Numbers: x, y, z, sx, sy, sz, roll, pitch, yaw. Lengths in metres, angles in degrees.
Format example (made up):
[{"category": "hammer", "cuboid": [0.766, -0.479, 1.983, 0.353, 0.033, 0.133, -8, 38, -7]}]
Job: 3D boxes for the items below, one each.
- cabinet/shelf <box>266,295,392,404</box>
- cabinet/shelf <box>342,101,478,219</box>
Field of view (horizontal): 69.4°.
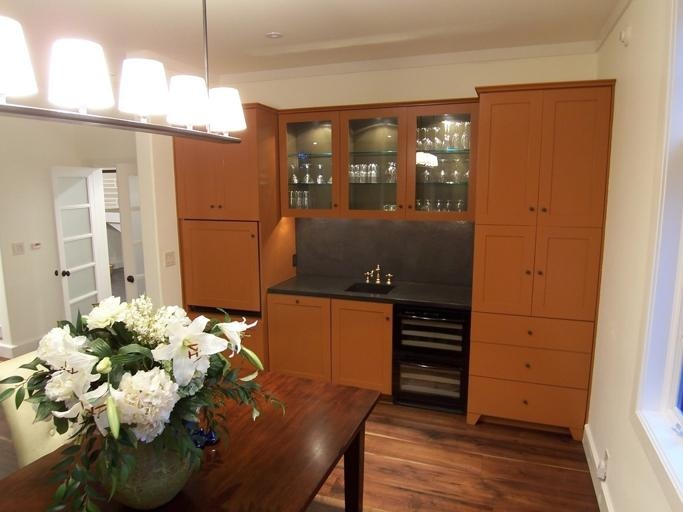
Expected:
[{"category": "cabinet/shelf", "cuboid": [-0.032, 0.736, 4.454, 1.239, 0.788, 0.425, 2, 5, 26]}, {"category": "cabinet/shelf", "cuboid": [0.624, -0.818, 4.292, 1.131, 0.978, 0.360, 5, 19, 20]}]
